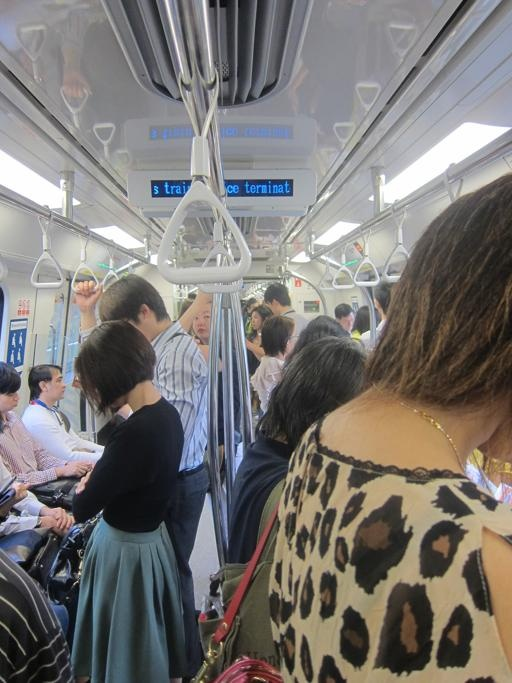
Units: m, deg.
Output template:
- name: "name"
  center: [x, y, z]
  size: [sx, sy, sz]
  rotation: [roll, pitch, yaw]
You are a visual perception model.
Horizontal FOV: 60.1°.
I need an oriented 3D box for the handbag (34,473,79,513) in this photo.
- name: "handbag"
  center: [-1.305, 0.990, 2.888]
  size: [0.366, 0.141, 0.374]
  rotation: [4, -5, -15]
